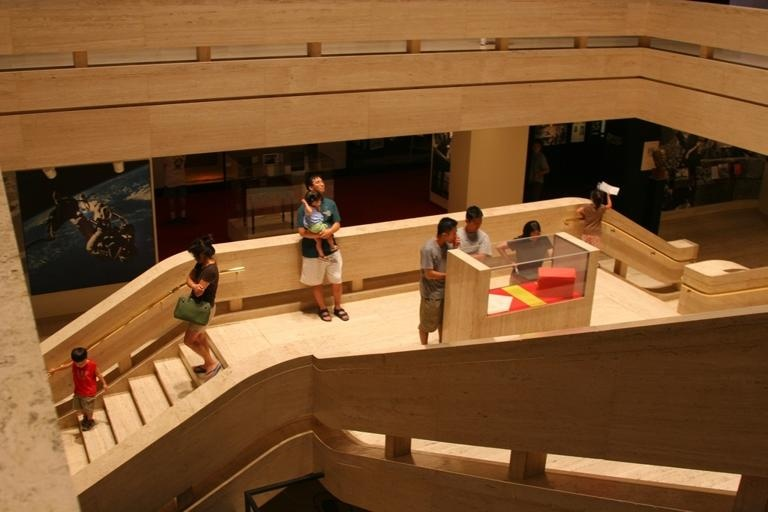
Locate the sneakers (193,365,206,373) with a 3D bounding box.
[{"bbox_3d":[-2.403,1.472,7.688,0.156,0.043,0.081,17,23,22],"label":"sneakers"}]

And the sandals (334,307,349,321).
[{"bbox_3d":[-0.620,0.854,8.731,0.111,0.102,0.312,-15,25,-31],"label":"sandals"}]

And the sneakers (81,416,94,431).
[{"bbox_3d":[-3.830,2.135,7.600,0.164,0.069,0.194,3,17,-16],"label":"sneakers"}]

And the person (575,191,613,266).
[{"bbox_3d":[3.821,-0.642,10.569,0.633,1.149,0.394,-7,19,-14],"label":"person"}]

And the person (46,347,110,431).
[{"bbox_3d":[-3.867,1.654,7.611,0.527,1.069,0.543,-16,22,-36],"label":"person"}]

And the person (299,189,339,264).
[{"bbox_3d":[-0.940,-0.457,8.397,0.455,0.960,0.329,-11,20,-26],"label":"person"}]

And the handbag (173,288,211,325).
[{"bbox_3d":[-2.350,0.582,7.356,0.462,0.529,0.142,16,17,12],"label":"handbag"}]

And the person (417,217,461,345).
[{"bbox_3d":[0.673,0.321,7.371,0.478,1.612,0.350,-3,18,-2],"label":"person"}]

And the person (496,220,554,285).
[{"bbox_3d":[1.693,0.171,7.035,0.663,1.263,0.376,-5,36,1],"label":"person"}]

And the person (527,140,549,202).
[{"bbox_3d":[3.634,-2.015,13.975,0.448,1.420,0.266,-5,18,-6],"label":"person"}]
